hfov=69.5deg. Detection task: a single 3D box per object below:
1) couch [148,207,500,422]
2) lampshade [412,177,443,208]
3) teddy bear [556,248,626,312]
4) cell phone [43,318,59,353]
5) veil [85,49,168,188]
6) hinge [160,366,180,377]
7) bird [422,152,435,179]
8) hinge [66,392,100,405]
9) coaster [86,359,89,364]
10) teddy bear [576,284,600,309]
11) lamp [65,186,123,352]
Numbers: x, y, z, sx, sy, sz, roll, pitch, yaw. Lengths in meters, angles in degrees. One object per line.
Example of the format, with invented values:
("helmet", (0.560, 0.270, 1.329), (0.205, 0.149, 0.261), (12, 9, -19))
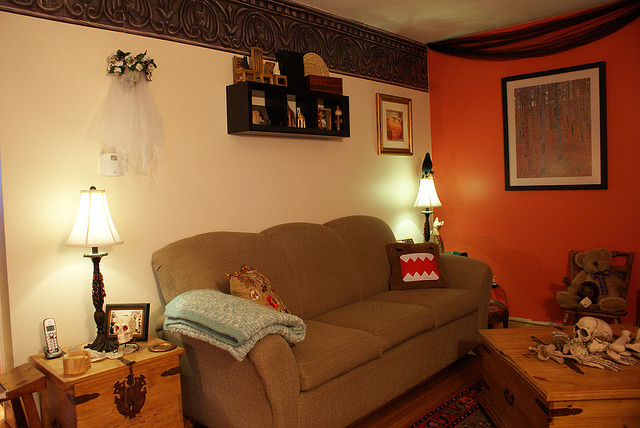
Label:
("couch", (0.091, 0.835, 3.789), (2.560, 1.439, 1.063), (-5, 5, -36))
("lampshade", (1.231, -0.218, 5.482), (0.270, 0.284, 0.294), (13, 4, 16))
("teddy bear", (2.790, 0.656, 4.799), (0.600, 0.640, 0.518), (2, 6, 22))
("cell phone", (-1.812, 0.817, 3.114), (0.067, 0.223, 0.100), (-6, 5, -32))
("veil", (-1.491, -0.701, 3.523), (0.557, 1.015, 0.154), (-5, 5, -23))
("hinge", (-0.993, 1.042, 3.067), (0.109, 0.039, 0.040), (-17, 0, -41))
("bird", (1.298, -0.582, 5.581), (0.117, 0.316, 0.322), (-2, 4, 15))
("hinge", (-1.436, 1.124, 2.803), (0.100, 0.026, 0.094), (1, -4, 2))
("coaster", (-1.433, 0.910, 2.842), (0.007, 0.027, 0.030), (14, -24, -16))
("teddy bear", (2.700, 0.838, 4.664), (0.194, 0.219, 0.208), (-1, 4, 31))
("lamp", (-1.504, 0.365, 3.269), (0.402, 1.082, 0.398), (-1, 1, 41))
